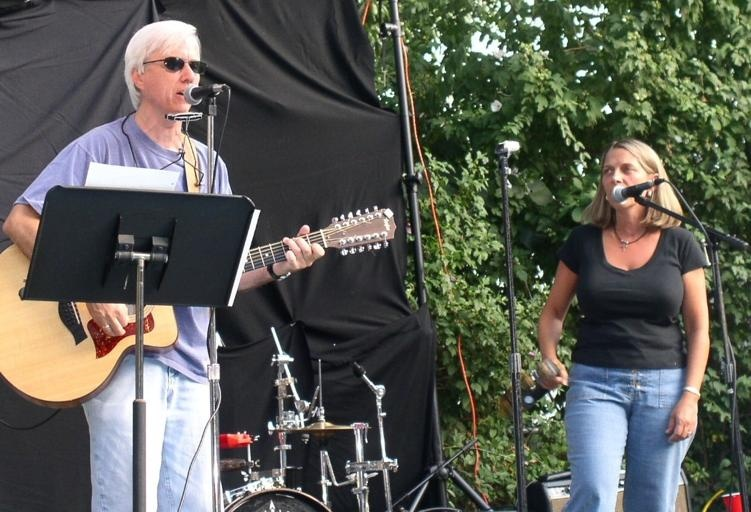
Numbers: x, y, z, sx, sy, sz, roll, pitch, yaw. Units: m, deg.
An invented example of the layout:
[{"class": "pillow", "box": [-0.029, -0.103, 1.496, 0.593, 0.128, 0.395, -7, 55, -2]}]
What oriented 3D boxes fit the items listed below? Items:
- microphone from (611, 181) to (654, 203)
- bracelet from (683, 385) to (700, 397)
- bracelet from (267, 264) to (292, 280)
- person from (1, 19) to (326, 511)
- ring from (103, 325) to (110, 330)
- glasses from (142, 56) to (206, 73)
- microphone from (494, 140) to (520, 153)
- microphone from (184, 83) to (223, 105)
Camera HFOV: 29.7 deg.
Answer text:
[{"class": "microphone", "box": [1.606, -0.379, 8.999, 0.320, 0.104, 0.096, -10, 30, 41]}, {"class": "bracelet", "box": [1.980, 0.846, 8.839, 0.076, 0.027, 0.069, 26, -3, 23]}, {"class": "bracelet", "box": [-0.591, 0.093, 8.753, 0.122, 0.026, 0.115, 15, -37, -24]}, {"class": "person", "box": [-1.317, 0.038, 8.521, 1.660, 2.963, 0.561, 2, -3, -23]}, {"class": "ring", "box": [-1.574, 0.422, 8.354, 0.033, 0.022, 0.034, 1, -6, 0]}, {"class": "glasses", "box": [-1.198, -1.149, 8.622, 0.174, 0.046, 0.174, -6, -5, 41]}, {"class": "microphone", "box": [0.920, -0.740, 9.759, 0.150, 0.114, 0.365, 0, -3, 8]}, {"class": "microphone", "box": [-1.017, -0.980, 8.554, 0.094, 0.087, 0.309, 17, -20, -37]}]
